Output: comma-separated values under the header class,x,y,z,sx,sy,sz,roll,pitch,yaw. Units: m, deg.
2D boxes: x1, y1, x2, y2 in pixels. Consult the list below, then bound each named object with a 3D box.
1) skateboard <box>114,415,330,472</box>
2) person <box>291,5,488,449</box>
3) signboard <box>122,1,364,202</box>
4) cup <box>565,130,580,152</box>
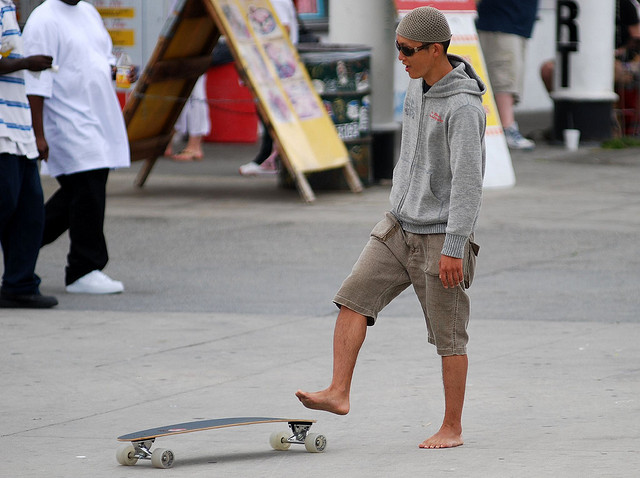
class,x,y,z,sx,sy,sz,roll,pitch,yaw
skateboard,-0.508,1.051,7.227,1.130,0.184,0.406,0,1,-35
person,0.485,-0.068,7.302,0.755,2.282,0.891,3,17,32
signboard,-0.909,-1.595,14.053,2.420,2.911,1.909,-4,10,8
cup,2.885,-1.146,15.555,0.223,0.199,0.354,5,19,15
